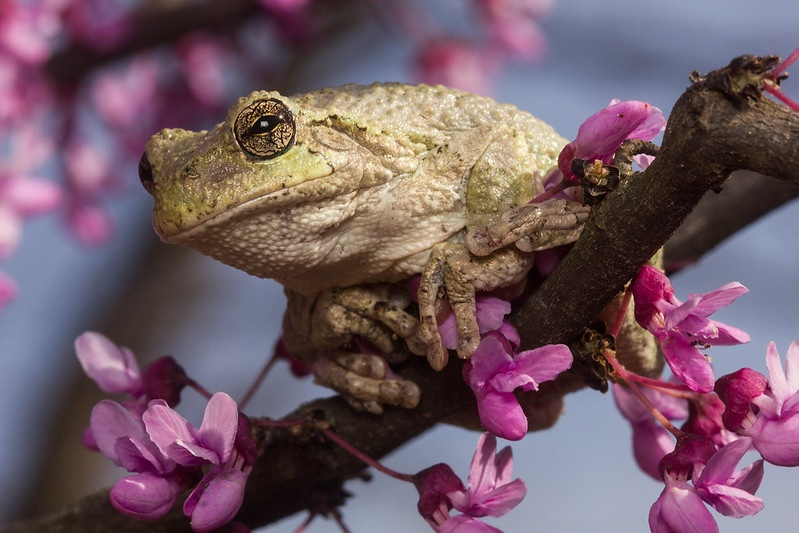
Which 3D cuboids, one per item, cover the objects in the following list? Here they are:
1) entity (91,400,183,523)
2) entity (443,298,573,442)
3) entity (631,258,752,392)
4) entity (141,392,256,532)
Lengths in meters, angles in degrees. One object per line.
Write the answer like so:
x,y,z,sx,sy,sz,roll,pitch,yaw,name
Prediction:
-0.509,0.416,2.082,0.205,0.367,0.174,-27,94,-28,entity
0.225,0.187,2.012,0.318,0.304,0.139,23,95,-10,entity
0.547,0.088,1.952,0.176,0.200,0.237,-25,38,-26,entity
-0.395,0.442,2.093,0.197,0.385,0.250,-16,61,-14,entity
